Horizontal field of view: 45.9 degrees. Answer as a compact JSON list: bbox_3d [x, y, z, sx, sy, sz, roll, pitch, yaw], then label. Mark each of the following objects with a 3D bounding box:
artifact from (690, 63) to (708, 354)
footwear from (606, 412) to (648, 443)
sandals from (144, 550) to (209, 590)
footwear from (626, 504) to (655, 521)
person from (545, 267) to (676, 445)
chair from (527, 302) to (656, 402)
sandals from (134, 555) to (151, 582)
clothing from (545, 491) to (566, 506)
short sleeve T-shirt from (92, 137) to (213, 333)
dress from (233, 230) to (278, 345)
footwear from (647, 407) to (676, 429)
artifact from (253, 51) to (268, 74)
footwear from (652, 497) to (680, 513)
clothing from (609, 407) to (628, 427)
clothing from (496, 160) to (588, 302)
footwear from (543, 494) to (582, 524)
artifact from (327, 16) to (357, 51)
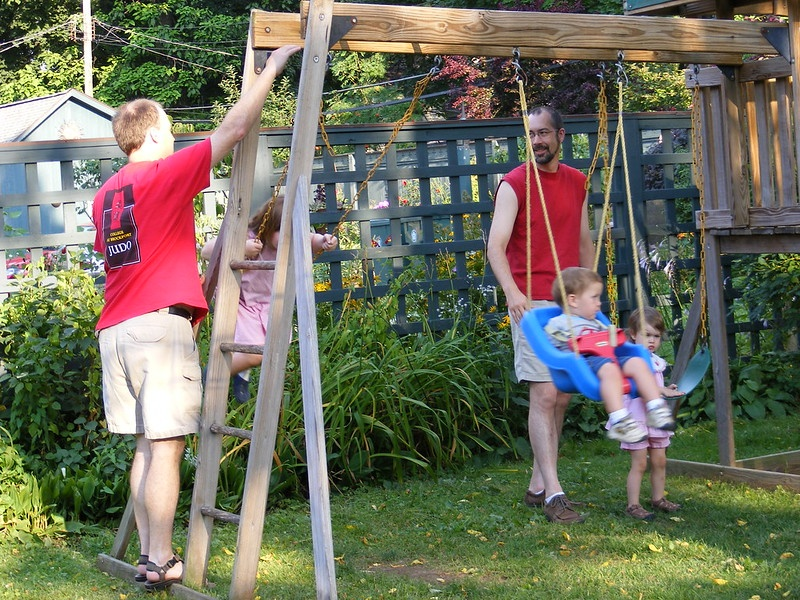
[{"bbox_3d":[1.991,-0.577,6.211,0.089,1.920,0.082,2,18,27],"label":"artifact"},{"bbox_3d":[1.204,0.677,5.056,0.212,0.162,0.116,2,7,5],"label":"footwear"},{"bbox_3d":[-1.154,1.368,4.797,0.104,0.112,0.245,2,5,39],"label":"sandals"},{"bbox_3d":[1.396,1.240,5.538,0.064,0.051,0.116,-7,6,-38],"label":"footwear"},{"bbox_3d":[1.135,0.267,5.165,0.421,0.726,0.925,-10,19,-17],"label":"person"},{"bbox_3d":[0.889,0.256,5.168,0.485,0.373,0.392,14,18,18],"label":"chair"},{"bbox_3d":[-1.316,1.363,4.791,0.065,0.077,0.174,1,2,-2],"label":"sandals"},{"bbox_3d":[0.899,1.154,5.553,0.052,0.068,0.151,-7,-21,-47],"label":"clothing"},{"bbox_3d":[-1.288,-0.321,4.823,0.718,1.036,0.497,-11,-9,20],"label":"short sleeve T-shirt"},{"bbox_3d":[-0.876,-0.077,5.853,0.358,0.666,0.162,7,5,39],"label":"dress"},{"bbox_3d":[1.392,0.641,5.076,0.069,0.089,0.196,-1,-6,-17],"label":"footwear"},{"bbox_3d":[-0.702,-1.199,4.750,0.098,0.101,0.024,3,1,-33],"label":"artifact"},{"bbox_3d":[1.588,1.220,5.644,0.128,0.056,0.073,1,10,26],"label":"footwear"},{"bbox_3d":[1.134,0.620,5.000,0.085,0.096,0.092,6,-20,-41],"label":"clothing"},{"bbox_3d":[0.908,-0.412,5.846,0.526,0.863,0.407,-4,3,-14],"label":"clothing"},{"bbox_3d":[0.953,1.219,5.531,0.113,0.107,0.236,-2,0,-27],"label":"footwear"},{"bbox_3d":[-0.308,-1.360,4.779,0.090,0.160,0.201,4,9,38],"label":"artifact"}]
